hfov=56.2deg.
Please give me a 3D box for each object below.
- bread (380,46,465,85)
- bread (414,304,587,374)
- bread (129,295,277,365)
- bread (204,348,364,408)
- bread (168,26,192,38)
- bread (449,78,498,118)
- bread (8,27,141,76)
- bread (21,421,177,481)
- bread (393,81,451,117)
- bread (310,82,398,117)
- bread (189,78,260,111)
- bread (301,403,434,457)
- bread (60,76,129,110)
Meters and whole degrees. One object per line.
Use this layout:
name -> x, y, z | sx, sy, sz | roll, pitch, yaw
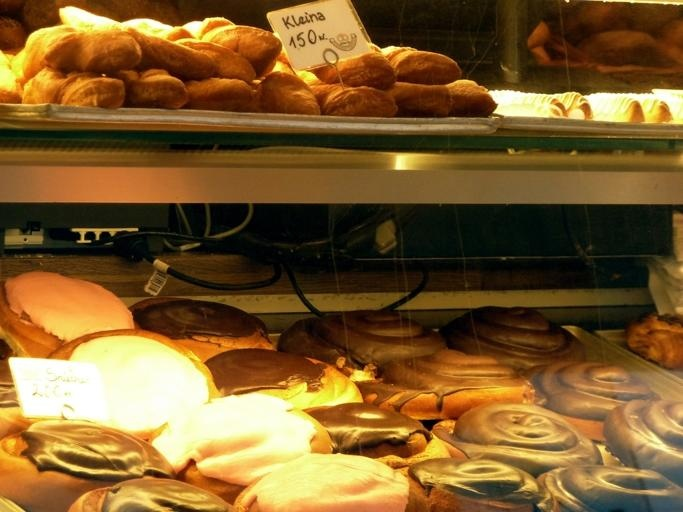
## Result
bread -> 0.165, -0.377, 1.269 | 0.149, 0.034, 0.094 | 6, 7, -14
bread -> 0.380, 0.181, 1.429 | 0.214, 0.061, 0.175 | 2, 5, -26
bread -> -0.294, 0.135, 1.373 | 0.197, 0.044, 0.173 | 17, 4, 22
bread -> -0.106, 0.240, 1.249 | 0.180, 0.035, 0.147 | 9, 4, -21
bread -> -0.339, -0.462, 1.324 | 0.046, 0.012, 0.042 | -18, 39, -27
bread -> 0.242, -0.294, 1.237 | 0.098, 0.059, 0.054 | 21, -27, -7
bread -> -0.442, -0.343, 1.075 | 0.220, 0.047, 0.111 | 1, 18, 20
bread -> -0.398, 0.310, 1.020 | 0.155, 0.027, 0.122 | 9, 2, -2
bread -> 0.141, -0.289, 1.157 | 0.108, 0.048, 0.034 | 3, -17, 2
bread -> 0.021, -0.272, 1.117 | 0.121, 0.040, 0.145 | 2, 4, -10
bread -> -0.207, -0.274, 1.094 | 0.088, 0.022, 0.078 | 4, -2, -10
bread -> 0.056, 0.312, 1.149 | 0.143, 0.031, 0.109 | 5, 1, -10
bread -> -0.388, -0.259, 1.017 | 0.083, 0.024, 0.073 | -16, 34, -9
